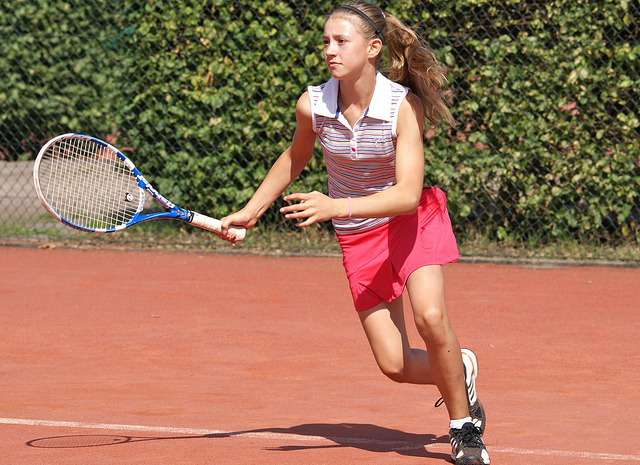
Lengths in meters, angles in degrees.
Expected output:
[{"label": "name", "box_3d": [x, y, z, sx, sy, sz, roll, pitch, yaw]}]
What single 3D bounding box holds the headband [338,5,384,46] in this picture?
[{"label": "headband", "box_3d": [0.245, -1.233, 4.604, 0.285, 0.180, 0.076, 8, 17, 1]}]
